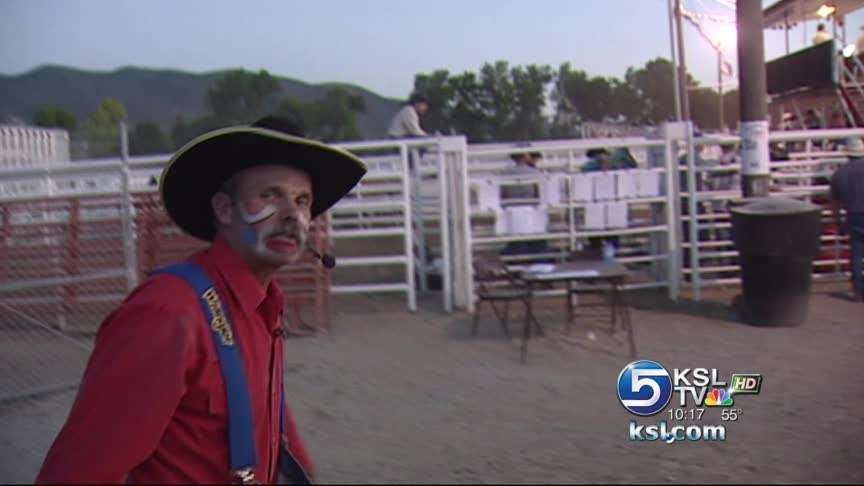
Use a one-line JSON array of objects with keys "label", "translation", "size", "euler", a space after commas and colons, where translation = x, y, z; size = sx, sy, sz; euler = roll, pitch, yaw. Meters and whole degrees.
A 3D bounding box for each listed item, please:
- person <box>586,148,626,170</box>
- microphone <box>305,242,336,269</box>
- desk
[{"label": "person", "translation": [2.641, -1.270, 16.050], "size": [0.559, 0.332, 0.829], "euler": [-1, 3, 19]}, {"label": "microphone", "translation": [-1.428, 0.170, 13.385], "size": [0.535, 0.147, 0.139], "euler": [33, -6, 28]}, {"label": "desk", "translation": [2.116, 0.810, 14.600], "size": [1.580, 1.192, 1.283], "euler": [-2, -1, 1]}]
